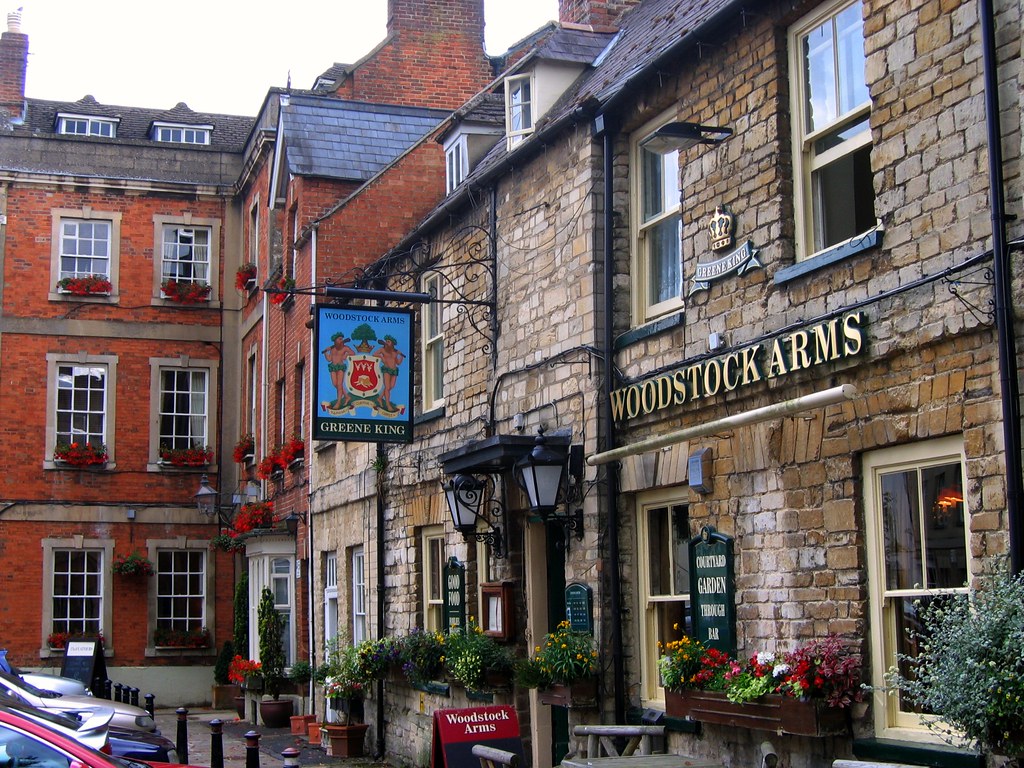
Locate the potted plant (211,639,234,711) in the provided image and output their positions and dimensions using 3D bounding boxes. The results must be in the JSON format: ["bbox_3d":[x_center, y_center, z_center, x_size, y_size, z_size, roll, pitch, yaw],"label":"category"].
[{"bbox_3d":[-5.226,5.291,34.857,0.534,1.303,0.542,3,-1,-39],"label":"potted plant"}]

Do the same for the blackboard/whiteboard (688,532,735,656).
[{"bbox_3d":[2.068,2.071,19.219,0.155,1.281,0.637,1,-6,-36],"label":"blackboard/whiteboard"}]

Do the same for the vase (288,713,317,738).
[{"bbox_3d":[-3.211,5.134,28.764,0.282,0.293,0.353,13,-24,-27],"label":"vase"}]

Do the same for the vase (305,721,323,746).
[{"bbox_3d":[-2.934,5.115,27.968,0.328,0.421,0.402,6,-14,-19],"label":"vase"}]

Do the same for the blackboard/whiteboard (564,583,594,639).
[{"bbox_3d":[0.762,2.460,20.757,0.074,0.667,0.447,5,-13,-23],"label":"blackboard/whiteboard"}]

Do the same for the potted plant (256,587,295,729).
[{"bbox_3d":[-3.886,4.271,30.038,0.463,2.192,0.434,-4,1,-16],"label":"potted plant"}]

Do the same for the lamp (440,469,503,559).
[{"bbox_3d":[-0.416,1.519,22.659,0.633,1.004,0.767,-9,-8,41],"label":"lamp"}]

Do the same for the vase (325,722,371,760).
[{"bbox_3d":[-2.243,4.845,25.954,0.546,0.486,0.549,-3,-7,-11],"label":"vase"}]

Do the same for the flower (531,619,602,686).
[{"bbox_3d":[0.570,2.897,20.604,0.522,0.671,0.571,0,-6,-21],"label":"flower"}]
